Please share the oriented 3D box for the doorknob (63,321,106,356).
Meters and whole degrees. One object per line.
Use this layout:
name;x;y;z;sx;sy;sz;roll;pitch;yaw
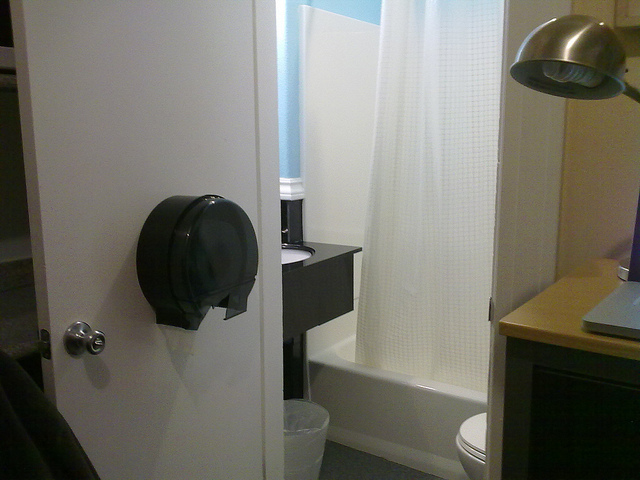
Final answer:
doorknob;-0.539;0.232;1.236;0.064;0.088;0.090;5;-1;15
